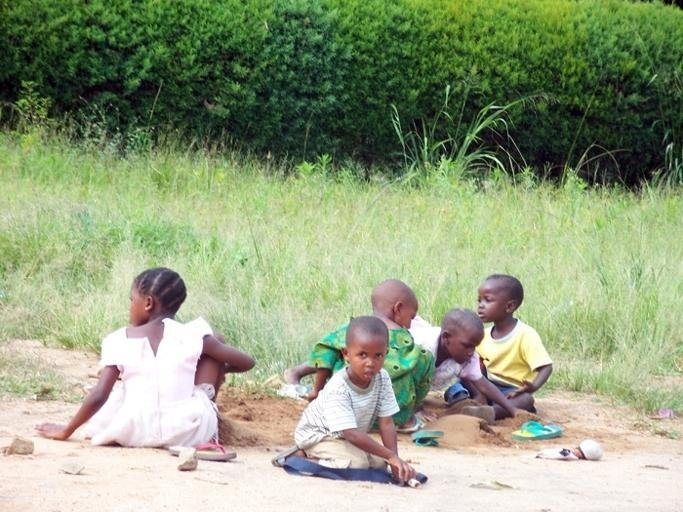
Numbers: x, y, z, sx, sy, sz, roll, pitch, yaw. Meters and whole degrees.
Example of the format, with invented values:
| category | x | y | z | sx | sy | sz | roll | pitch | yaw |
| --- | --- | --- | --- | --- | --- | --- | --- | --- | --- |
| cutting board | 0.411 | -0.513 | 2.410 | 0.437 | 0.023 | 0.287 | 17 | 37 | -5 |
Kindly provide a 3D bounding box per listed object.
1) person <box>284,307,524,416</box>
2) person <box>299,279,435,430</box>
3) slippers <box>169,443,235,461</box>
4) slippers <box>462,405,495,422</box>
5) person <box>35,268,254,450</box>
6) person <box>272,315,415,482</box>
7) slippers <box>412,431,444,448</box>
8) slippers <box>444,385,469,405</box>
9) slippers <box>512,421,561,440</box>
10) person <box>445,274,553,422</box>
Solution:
| category | x | y | z | sx | sy | sz | roll | pitch | yaw |
| --- | --- | --- | --- | --- | --- | --- | --- | --- | --- |
| person | 0.766 | 0.876 | 7.147 | 1.233 | 0.818 | 0.756 | -9 | -12 | 30 |
| person | 0.250 | 0.738 | 6.850 | 0.868 | 1.245 | 0.739 | 4 | -2 | -1 |
| slippers | -0.949 | 1.392 | 6.090 | 0.323 | 0.111 | 0.202 | -1 | 0 | 21 |
| slippers | 1.119 | 1.310 | 7.104 | 0.268 | 0.142 | 0.141 | 2 | 0 | 5 |
| person | -1.355 | 0.738 | 6.351 | 1.291 | 0.989 | 0.377 | 2 | 0 | -9 |
| person | 0.057 | 1.013 | 6.151 | 0.679 | 1.249 | 1.127 | -4 | 7 | -37 |
| slippers | 0.666 | 1.422 | 6.747 | 0.235 | 0.115 | 0.194 | 2 | -1 | 8 |
| slippers | 0.963 | 1.194 | 7.450 | 0.257 | 0.175 | 0.197 | -5 | -11 | 41 |
| slippers | 1.573 | 1.413 | 6.983 | 0.435 | 0.142 | 0.187 | 3 | 0 | -11 |
| person | 1.434 | 0.746 | 7.848 | 0.950 | 1.509 | 1.027 | -6 | 9 | -22 |
